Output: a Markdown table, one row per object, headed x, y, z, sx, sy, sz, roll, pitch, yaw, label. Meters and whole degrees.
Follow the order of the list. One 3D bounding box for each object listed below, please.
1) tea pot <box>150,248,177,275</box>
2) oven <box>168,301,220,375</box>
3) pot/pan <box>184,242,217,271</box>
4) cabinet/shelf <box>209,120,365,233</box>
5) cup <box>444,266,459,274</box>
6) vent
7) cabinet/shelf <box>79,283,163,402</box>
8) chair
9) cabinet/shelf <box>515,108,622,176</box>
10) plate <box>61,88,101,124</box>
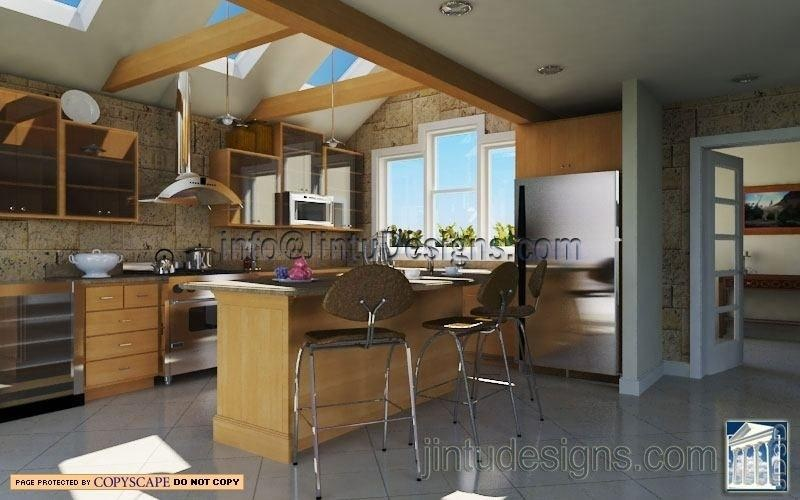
| x | y | z | sx | sy | sz | roll | pitch | yaw | label |
| --- | --- | --- | --- | --- | --- | --- | --- | --- | --- |
| -2.765 | 0.137 | 6.364 | 0.314 | 0.355 | 0.372 | 1 | -2 | -27 | tea pot |
| -2.355 | 1.022 | 5.994 | 0.599 | 0.943 | 0.309 | -6 | 14 | -26 | oven |
| -2.503 | 0.104 | 6.705 | 0.329 | 0.268 | 0.337 | 1 | 0 | 42 | pot/pan |
| -1.646 | -1.019 | 7.369 | 0.291 | 1.054 | 1.948 | -2 | -2 | 36 | cabinet/shelf |
| 0.529 | 0.201 | 5.307 | 0.111 | 0.048 | 0.067 | 1 | -4 | -3 | cup |
| -2.602 | -1.366 | 6.418 | 1.091 | 1.582 | 0.996 | -1 | 2 | -38 | vent |
| -2.901 | 1.007 | 5.833 | 0.833 | 1.200 | 0.674 | -5 | -14 | -12 | cabinet/shelf |
| 0.161 | 1.159 | 4.590 | 1.872 | 1.182 | 0.679 | 2 | -4 | -41 | chair |
| 1.935 | -1.226 | 6.135 | 1.018 | 0.863 | 0.380 | 0 | -2 | 30 | cabinet/shelf |
| -3.455 | -1.555 | 5.728 | 0.073 | 0.394 | 0.425 | -14 | -25 | 42 | plate |
